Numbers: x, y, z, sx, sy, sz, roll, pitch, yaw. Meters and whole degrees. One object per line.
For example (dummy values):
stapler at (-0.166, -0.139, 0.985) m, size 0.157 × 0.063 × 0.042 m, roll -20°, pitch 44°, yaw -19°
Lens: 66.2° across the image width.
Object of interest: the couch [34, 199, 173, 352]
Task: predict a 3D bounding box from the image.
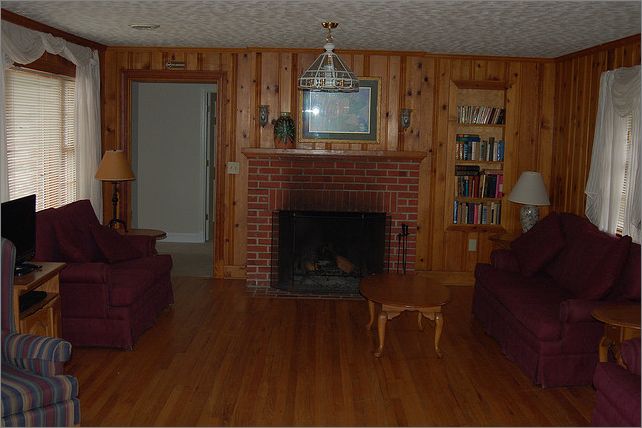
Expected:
couch at (-2.274, 0.672, 5.098) m, size 1.191 × 1.354 × 1.999 m, roll 1°, pitch 9°, yaw -4°

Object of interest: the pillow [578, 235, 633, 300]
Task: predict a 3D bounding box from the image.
pillow at (2.473, 0.493, 4.293) m, size 0.164 × 0.507 × 0.549 m, roll 19°, pitch -8°, yaw -6°

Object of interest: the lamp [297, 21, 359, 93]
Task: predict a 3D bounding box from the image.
lamp at (0.055, -1.382, 4.208) m, size 0.510 × 0.524 × 0.497 m, roll 3°, pitch 23°, yaw 2°

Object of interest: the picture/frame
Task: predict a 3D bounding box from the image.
picture/frame at (0.205, -1.251, 5.831) m, size 0.848 × 0.672 × 0.067 m, roll 1°, pitch 6°, yaw -2°

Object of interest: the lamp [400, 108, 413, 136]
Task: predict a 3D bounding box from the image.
lamp at (1.079, -1.190, 6.231) m, size 0.152 × 0.283 × 0.117 m, roll 2°, pitch 15°, yaw 2°

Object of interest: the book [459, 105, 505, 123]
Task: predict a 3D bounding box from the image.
book at (2.073, -1.268, 6.331) m, size 0.623 × 0.225 × 0.078 m, roll 0°, pitch 15°, yaw -4°

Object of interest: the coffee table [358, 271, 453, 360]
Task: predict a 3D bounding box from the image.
coffee table at (0.798, 0.980, 4.866) m, size 0.849 × 0.536 × 0.910 m, roll -1°, pitch 14°, yaw -9°

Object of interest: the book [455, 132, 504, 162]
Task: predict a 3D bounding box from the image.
book at (2.079, -0.851, 6.426) m, size 0.637 × 0.302 × 0.262 m, roll 3°, pitch 15°, yaw 9°

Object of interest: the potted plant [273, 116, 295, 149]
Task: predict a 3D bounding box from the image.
potted plant at (-0.456, -1.025, 6.051) m, size 0.266 × 0.423 × 0.167 m, roll 0°, pitch 15°, yaw -5°
